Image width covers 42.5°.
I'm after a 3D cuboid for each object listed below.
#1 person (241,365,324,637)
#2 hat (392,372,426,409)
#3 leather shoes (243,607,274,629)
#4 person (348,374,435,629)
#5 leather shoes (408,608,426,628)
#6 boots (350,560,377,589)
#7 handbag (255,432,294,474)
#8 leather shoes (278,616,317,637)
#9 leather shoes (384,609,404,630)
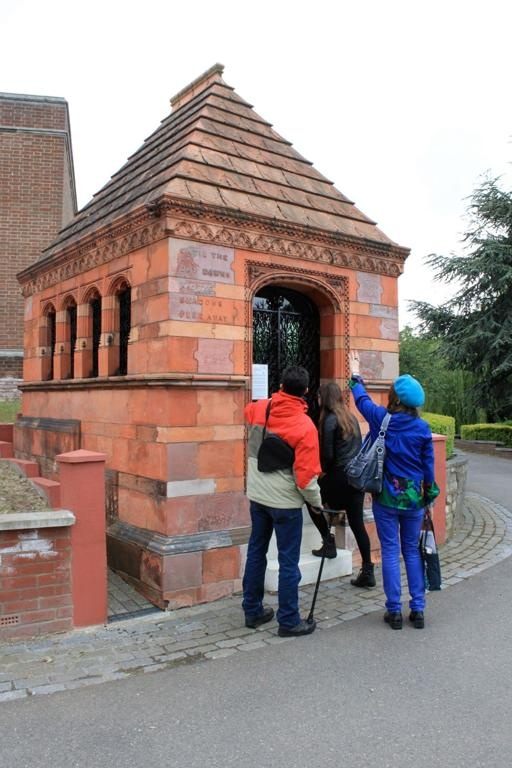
[{"bbox_3d":[0.193,0.838,4.804,0.332,1.917,0.693,0,-1,-39],"label":"person"},{"bbox_3d":[1.112,0.034,4.900,0.101,0.202,0.259,-39,25,12],"label":"hat"},{"bbox_3d":[0.026,1.744,4.977,0.089,0.105,0.254,1,5,35],"label":"leather shoes"},{"bbox_3d":[1.073,0.855,4.993,0.605,1.849,0.485,-1,-1,16],"label":"person"},{"bbox_3d":[1.191,1.719,4.815,0.059,0.066,0.161,0,-1,0],"label":"leather shoes"},{"bbox_3d":[0.978,1.728,5.977,0.122,0.211,0.314,4,-2,-32],"label":"boots"},{"bbox_3d":[0.137,0.473,4.747,0.284,0.279,0.293,3,3,-44],"label":"handbag"},{"bbox_3d":[0.311,1.733,4.735,0.268,0.107,0.099,-1,-1,-20],"label":"leather shoes"},{"bbox_3d":[1.022,1.722,4.833,0.071,0.071,0.171,0,-1,-5],"label":"leather shoes"}]
